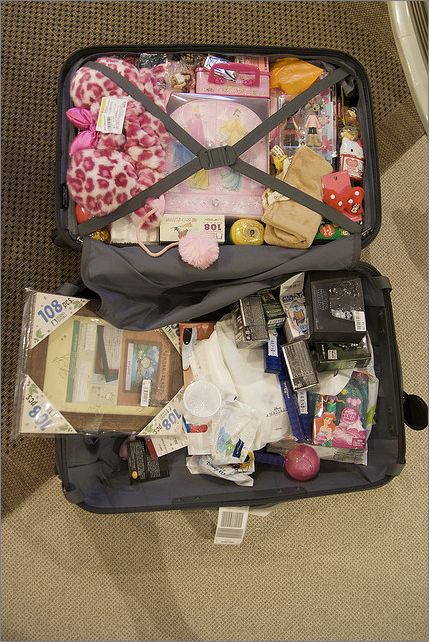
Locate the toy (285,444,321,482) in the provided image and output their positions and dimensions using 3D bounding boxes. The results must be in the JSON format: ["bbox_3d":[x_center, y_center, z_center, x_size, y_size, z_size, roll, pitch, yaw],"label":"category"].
[{"bbox_3d":[0.231,0.371,1.453,0.091,0.105,0.093,11,79,-10],"label":"toy"}]

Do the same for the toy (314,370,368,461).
[{"bbox_3d":[0.344,0.243,1.401,0.164,0.052,0.220,4,82,-6],"label":"toy"}]

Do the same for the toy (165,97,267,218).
[{"bbox_3d":[0.009,-0.412,1.349,0.258,0.081,0.305,1,81,1],"label":"toy"}]

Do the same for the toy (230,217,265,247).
[{"bbox_3d":[0.084,-0.222,1.369,0.086,0.045,0.070,-2,81,1],"label":"toy"}]

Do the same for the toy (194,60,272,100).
[{"bbox_3d":[0.048,-0.606,1.358,0.134,0.083,0.104,0,44,-9],"label":"toy"}]

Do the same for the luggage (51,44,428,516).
[{"bbox_3d":[0.008,-0.096,1.395,1.003,0.436,1.225,-11,81,-1],"label":"luggage"}]
